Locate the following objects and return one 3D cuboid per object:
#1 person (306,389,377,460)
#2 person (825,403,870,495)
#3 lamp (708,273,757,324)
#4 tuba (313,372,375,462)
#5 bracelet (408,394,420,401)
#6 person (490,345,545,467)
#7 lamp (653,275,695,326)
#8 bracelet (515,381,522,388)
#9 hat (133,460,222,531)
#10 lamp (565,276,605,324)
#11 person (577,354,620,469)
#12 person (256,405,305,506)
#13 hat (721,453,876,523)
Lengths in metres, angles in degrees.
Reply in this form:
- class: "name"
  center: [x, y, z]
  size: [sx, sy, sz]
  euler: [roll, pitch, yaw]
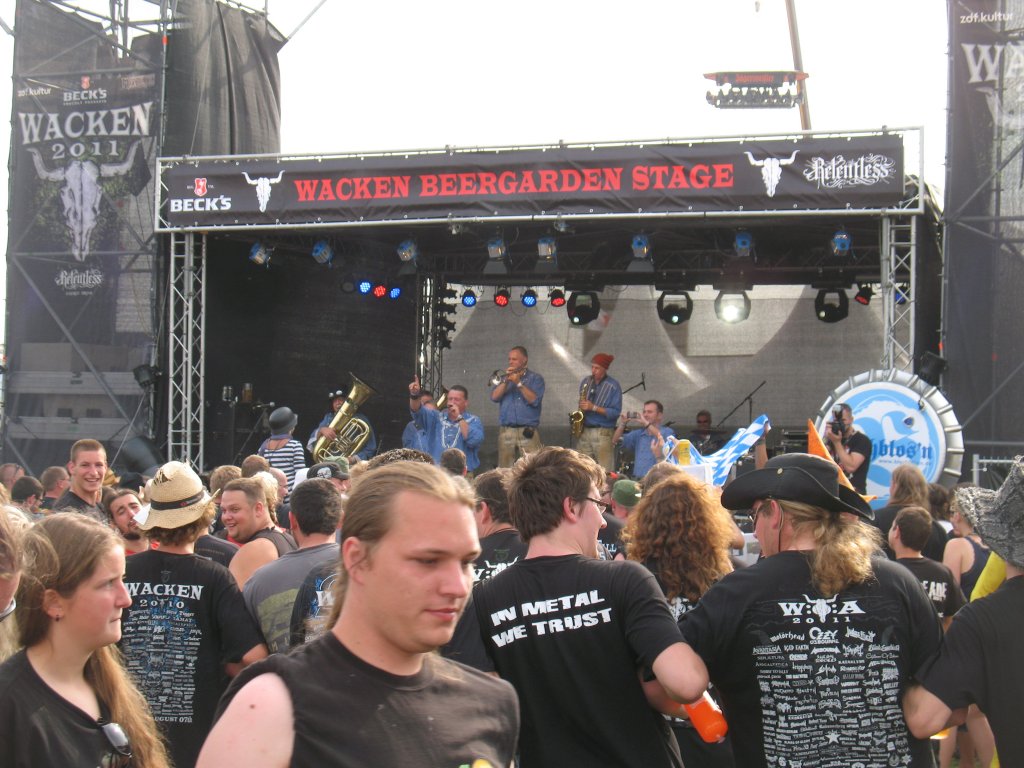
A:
- class: "person"
  center: [-2.082, 0.495, 22.393]
  size: [0.283, 0.765, 0.446]
  euler: [37, 1, -15]
- class: "person"
  center: [3.324, 0.633, 18.723]
  size: [0.353, 0.923, 0.424]
  euler: [2, 6, 15]
- class: "lamp"
  center: [3.101, -1.203, 26.170]
  size: [0.596, 0.771, 0.268]
  euler: [1, 5, 16]
- class: "tuba"
  center: [-1.929, 0.368, 21.712]
  size: [0.548, 1.040, 0.568]
  euler: [0, 7, -34]
- class: "bracelet"
  center: [-1.130, 0.150, 21.655]
  size: [0.128, 0.089, 0.124]
  euler: [0, 1, -2]
- class: "person"
  center: [0.054, 0.542, 22.217]
  size: [0.642, 1.871, 0.630]
  euler: [2, 3, 15]
- class: "lamp"
  center: [2.256, -1.174, 26.081]
  size: [0.574, 0.780, 0.263]
  euler: [1, 7, 14]
- class: "bracelet"
  center: [0.081, -0.005, 22.009]
  size: [0.054, 0.050, 0.054]
  euler: [-4, 15, -16]
- class: "hat"
  center: [-2.528, 0.831, 14.096]
  size: [0.482, 0.480, 0.446]
  euler: [2, 4, -4]
- class: "lamp"
  center: [0.984, -1.161, 25.801]
  size: [0.584, 0.679, 0.572]
  euler: [2, 5, 22]
- class: "person"
  center: [1.032, 0.320, 22.167]
  size: [0.477, 1.339, 0.426]
  euler: [6, 7, 33]
- class: "person"
  center: [-2.330, 0.659, 19.659]
  size: [0.537, 1.137, 0.476]
  euler: [9, 10, 41]
- class: "hat"
  center: [2.003, 0.697, 13.076]
  size: [0.911, 0.480, 0.682]
  euler: [4, 5, 36]
